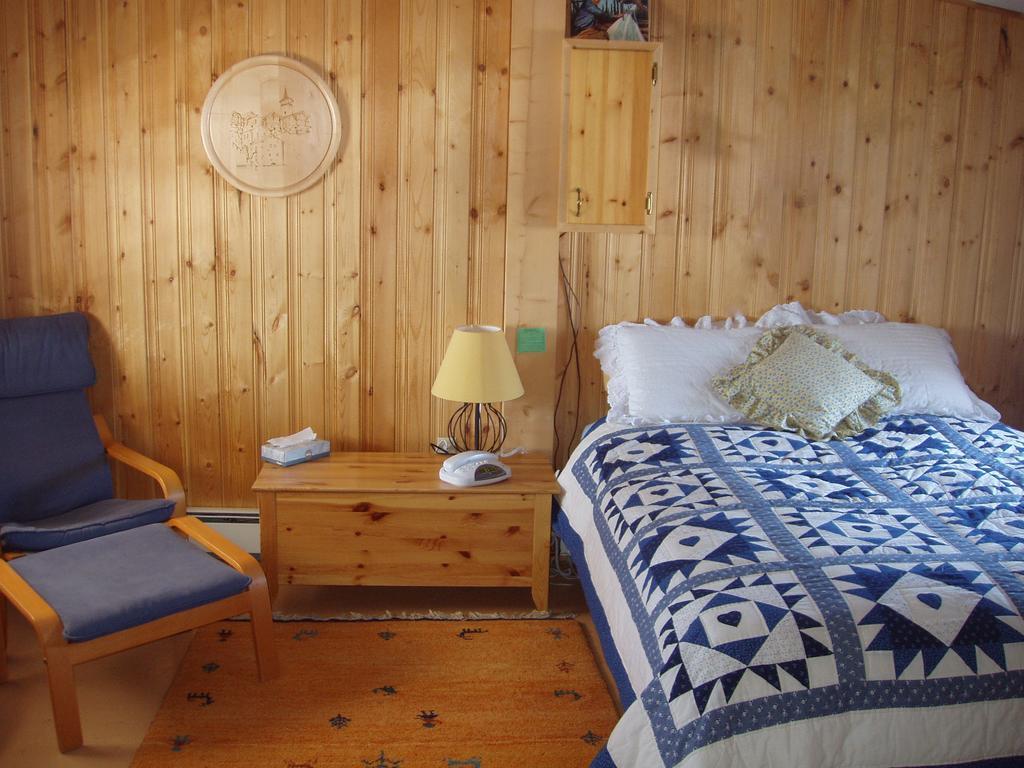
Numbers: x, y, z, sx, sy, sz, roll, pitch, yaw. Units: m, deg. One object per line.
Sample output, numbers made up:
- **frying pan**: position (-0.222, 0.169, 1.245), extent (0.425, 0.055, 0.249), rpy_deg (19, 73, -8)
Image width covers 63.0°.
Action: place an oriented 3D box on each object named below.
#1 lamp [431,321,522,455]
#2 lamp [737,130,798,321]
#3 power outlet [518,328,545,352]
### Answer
- **lamp**: position (-0.156, 0.043, 3.557), extent (0.370, 0.572, 0.420), rpy_deg (-2, 8, -5)
- **lamp**: position (1.096, -0.695, 3.672), extent (0.258, 0.820, 0.286), rpy_deg (1, 8, 19)
- **power outlet**: position (0.086, -0.193, 3.630), extent (0.109, 0.100, 0.026), rpy_deg (-1, 4, -2)
